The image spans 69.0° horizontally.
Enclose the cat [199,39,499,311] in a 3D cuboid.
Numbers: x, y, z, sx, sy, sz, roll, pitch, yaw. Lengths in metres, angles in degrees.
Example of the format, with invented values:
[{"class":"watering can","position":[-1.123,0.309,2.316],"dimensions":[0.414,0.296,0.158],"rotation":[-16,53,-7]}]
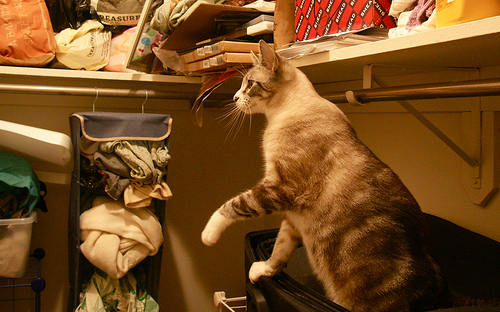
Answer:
[{"class":"cat","position":[0.332,0.039,1.186],"dimensions":[0.866,0.720,0.553],"rotation":[4,28,14]}]

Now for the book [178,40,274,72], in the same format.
[{"class":"book","position":[-0.091,-0.463,1.698],"dimensions":[0.442,0.087,0.468],"rotation":[-6,14,23]}]
